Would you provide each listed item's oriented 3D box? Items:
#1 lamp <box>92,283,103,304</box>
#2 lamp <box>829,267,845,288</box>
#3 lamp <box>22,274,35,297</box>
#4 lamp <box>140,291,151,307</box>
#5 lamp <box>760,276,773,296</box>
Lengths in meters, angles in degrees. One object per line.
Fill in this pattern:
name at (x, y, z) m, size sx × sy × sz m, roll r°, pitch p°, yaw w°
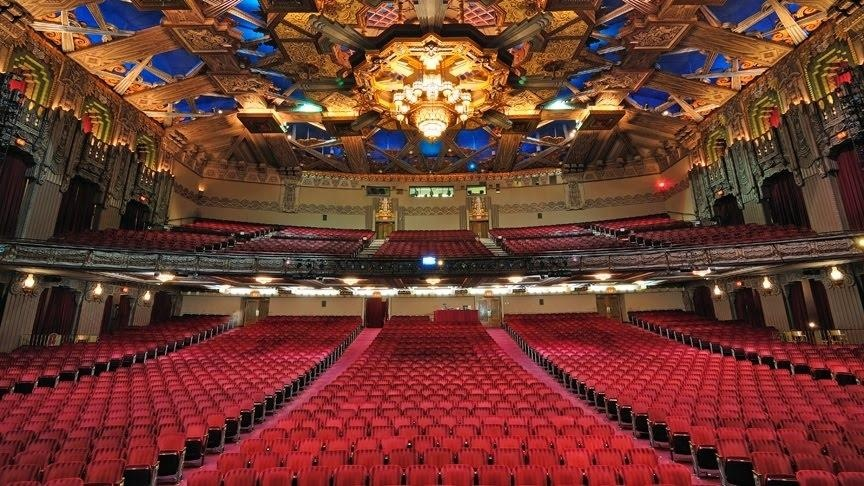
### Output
lamp at (-16.301, 2.427, 23.136) m, size 0.151 × 0.867 × 0.511 m, roll -5°, pitch -11°, yaw 16°
lamp at (17.740, 1.442, 20.585) m, size 0.459 × 0.809 × 0.404 m, roll -3°, pitch -11°, yaw 8°
lamp at (-17.726, 1.824, 20.783) m, size 0.302 × 0.890 × 0.505 m, roll -11°, pitch -15°, yaw 41°
lamp at (-15.459, 3.033, 25.580) m, size 0.389 × 0.809 × 0.754 m, roll 1°, pitch -10°, yaw -12°
lamp at (16.211, 2.070, 22.823) m, size 0.391 × 0.858 × 0.546 m, roll 1°, pitch -11°, yaw -14°
